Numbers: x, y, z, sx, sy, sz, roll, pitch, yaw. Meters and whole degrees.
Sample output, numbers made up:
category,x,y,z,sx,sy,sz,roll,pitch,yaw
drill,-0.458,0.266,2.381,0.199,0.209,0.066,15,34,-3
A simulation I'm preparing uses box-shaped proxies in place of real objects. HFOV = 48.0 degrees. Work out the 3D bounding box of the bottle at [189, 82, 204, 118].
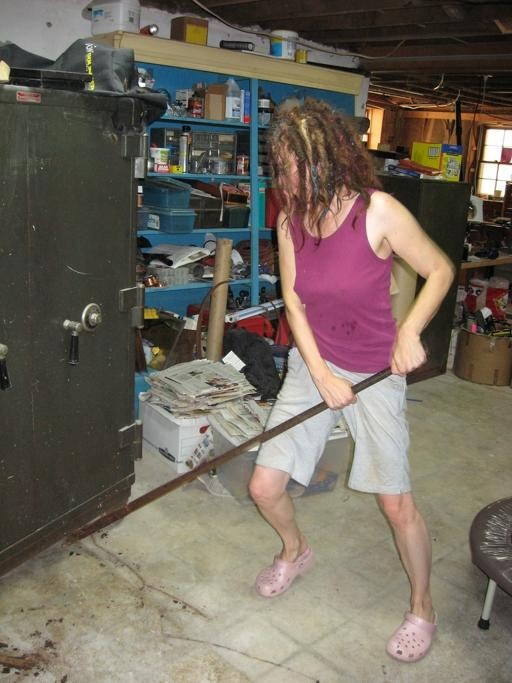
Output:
category,x,y,z,sx,sy,sz,roll,pitch,yaw
bottle,-0.439,-1.789,4.221,0.119,0.256,0.225,1,15,-6

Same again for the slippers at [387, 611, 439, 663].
category,x,y,z,sx,sy,sz,roll,pitch,yaw
slippers,0.536,0.974,1.958,0.104,0.084,0.203,14,20,36

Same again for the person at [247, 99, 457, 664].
category,x,y,z,sx,sy,sz,roll,pitch,yaw
person,0.335,0.158,1.869,0.677,1.788,0.345,6,16,12

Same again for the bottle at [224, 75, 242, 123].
category,x,y,z,sx,sy,sz,roll,pitch,yaw
bottle,-0.169,-1.840,4.327,0.134,0.337,0.298,2,15,-4

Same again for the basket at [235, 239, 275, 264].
category,x,y,z,sx,sy,sz,roll,pitch,yaw
basket,-0.002,-0.738,4.689,0.289,0.127,0.372,0,3,1

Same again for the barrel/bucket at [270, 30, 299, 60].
category,x,y,z,sx,sy,sz,roll,pitch,yaw
barrel/bucket,0.222,-2.572,4.925,0.254,0.275,0.240,3,15,-1

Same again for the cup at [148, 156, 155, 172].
category,x,y,z,sx,sy,sz,roll,pitch,yaw
cup,-0.701,-1.205,3.857,0.038,0.102,0.074,-1,16,-16

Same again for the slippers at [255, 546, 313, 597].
category,x,y,z,sx,sy,sz,roll,pitch,yaw
slippers,0.099,0.910,2.282,0.244,0.091,0.109,-30,27,-31

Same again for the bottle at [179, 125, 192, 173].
category,x,y,z,sx,sy,sz,roll,pitch,yaw
bottle,-0.502,-1.367,4.108,0.090,0.365,0.094,4,21,-2
